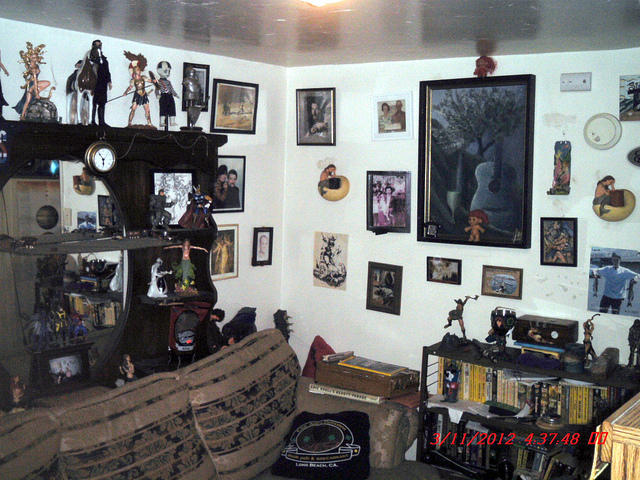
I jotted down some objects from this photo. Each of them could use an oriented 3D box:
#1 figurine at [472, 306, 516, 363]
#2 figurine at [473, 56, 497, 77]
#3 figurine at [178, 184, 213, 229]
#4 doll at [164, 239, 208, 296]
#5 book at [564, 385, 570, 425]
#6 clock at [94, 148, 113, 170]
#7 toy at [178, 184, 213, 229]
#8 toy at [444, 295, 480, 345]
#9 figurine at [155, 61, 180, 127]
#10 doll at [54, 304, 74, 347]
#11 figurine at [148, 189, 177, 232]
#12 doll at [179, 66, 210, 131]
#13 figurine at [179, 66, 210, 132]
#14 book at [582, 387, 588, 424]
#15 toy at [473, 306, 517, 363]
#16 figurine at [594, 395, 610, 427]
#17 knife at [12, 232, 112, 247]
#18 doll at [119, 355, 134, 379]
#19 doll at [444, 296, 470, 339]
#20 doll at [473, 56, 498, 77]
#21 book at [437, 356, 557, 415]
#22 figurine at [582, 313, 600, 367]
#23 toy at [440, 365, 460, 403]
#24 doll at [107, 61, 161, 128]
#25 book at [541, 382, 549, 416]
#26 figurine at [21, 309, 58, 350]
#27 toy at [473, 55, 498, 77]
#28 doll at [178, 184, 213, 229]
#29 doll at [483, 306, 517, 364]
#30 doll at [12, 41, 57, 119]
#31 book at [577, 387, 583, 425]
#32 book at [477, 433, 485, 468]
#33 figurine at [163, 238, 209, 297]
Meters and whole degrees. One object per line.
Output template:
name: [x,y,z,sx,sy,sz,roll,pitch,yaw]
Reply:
figurine: [1.287,0.694,3.918,0.258,0.414,0.251,7,10,34]
figurine: [1.254,-1.323,3.988,0.129,0.166,0.080,13,24,16]
figurine: [-0.904,-0.268,3.894,0.214,0.318,0.147,-14,25,-43]
doll: [-0.998,0.190,3.874,0.402,0.476,0.173,0,2,-38]
book: [1.715,1.135,3.656,0.032,0.266,0.020,2,6,19]
clock: [-1.358,-0.514,3.310,0.025,0.111,0.110,6,2,36]
toy: [-0.933,-0.241,3.907,0.327,0.436,0.165,0,3,-33]
toy: [1.097,0.606,4.167,0.168,0.392,0.223,4,8,-33]
figurine: [-1.113,-1.076,3.835,0.156,0.453,0.112,-11,18,-41]
doll: [-1.655,0.531,3.426,0.112,0.313,0.096,1,30,-15]
figurine: [-1.117,-0.209,3.699,0.140,0.291,0.084,-3,6,-27]
doll: [-0.925,-1.034,3.881,0.234,0.480,0.186,-3,14,-28]
figurine: [-0.918,-1.032,3.885,0.214,0.477,0.156,-1,17,-19]
book: [1.815,1.131,3.605,0.032,0.249,0.019,2,6,21]
toy: [1.297,0.680,3.896,0.236,0.385,0.230,7,10,34]
figurine: [1.876,1.150,3.506,0.093,0.183,0.139,3,6,28]
knife: [-1.611,-0.009,3.320,0.575,0.065,0.170,-4,7,-36]
doll: [-1.313,0.864,3.575,0.073,0.195,0.124,-2,10,3]
doll: [1.099,0.613,4.223,0.192,0.322,0.209,1,6,14]
doll: [1.249,-1.309,3.995,0.128,0.168,0.080,13,19,16]
book: [1.252,1.067,4.288,0.983,0.342,0.863,5,-2,-3]
figurine: [1.921,0.705,3.737,0.103,0.328,0.301,3,6,27]
toy: [0.998,1.094,4.020,0.132,0.276,0.067,1,5,14]
doll: [-1.295,-1.071,3.756,0.297,0.485,0.242,1,13,-28]
book: [1.591,1.122,3.730,0.049,0.229,0.023,5,7,45]
figurine: [-1.748,0.548,3.303,0.169,0.230,0.135,3,8,-33]
toy: [1.253,-1.322,3.989,0.141,0.168,0.075,18,25,16]
doll: [-0.921,-0.258,3.879,0.208,0.320,0.119,9,12,32]
doll: [1.323,0.691,3.876,0.325,0.457,0.328,3,-2,-1]
doll: [-1.767,-1.009,3.286,0.214,0.468,0.154,-1,6,-10]
book: [1.788,1.137,3.621,0.030,0.252,0.016,2,6,19]
book: [1.222,1.593,3.994,0.045,0.273,0.011,2,5,18]
figurine: [-0.949,0.173,3.826,0.241,0.420,0.174,-5,12,-43]
